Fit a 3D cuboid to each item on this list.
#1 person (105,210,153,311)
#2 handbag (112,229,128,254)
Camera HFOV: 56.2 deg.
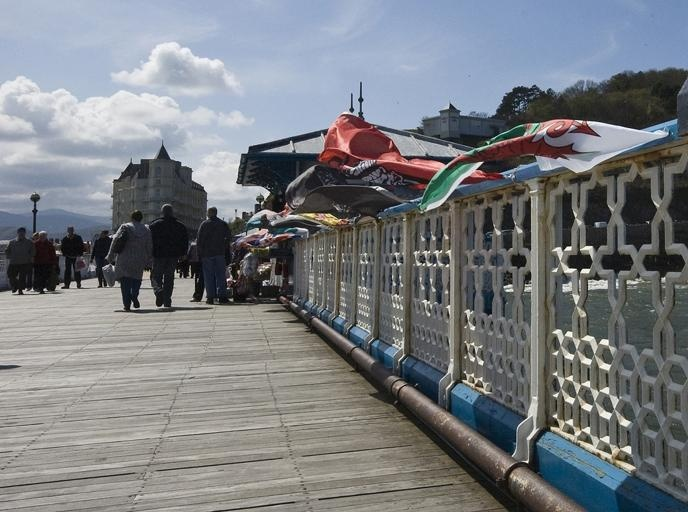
[{"bbox_3d":[-4.467,0.088,13.531,0.841,2.110,1.587,0,2,-17],"label":"person"},{"bbox_3d":[-4.460,-0.282,12.899,0.305,0.416,0.123,34,16,29],"label":"handbag"}]
